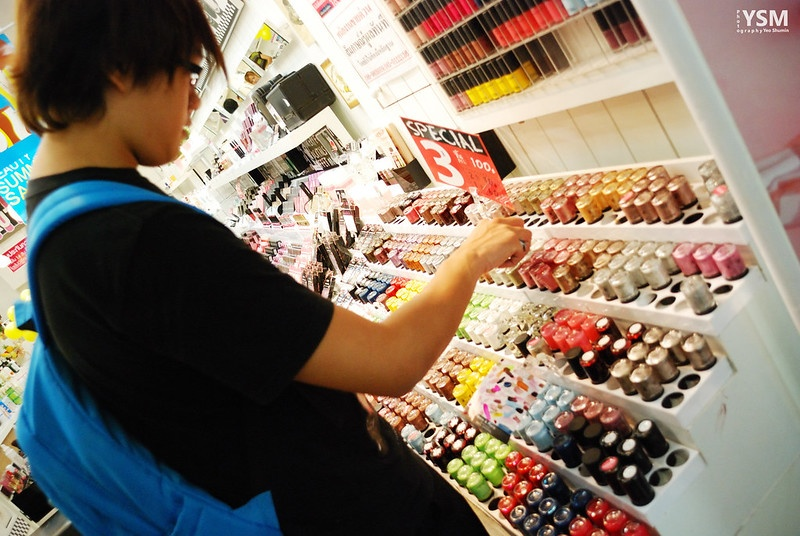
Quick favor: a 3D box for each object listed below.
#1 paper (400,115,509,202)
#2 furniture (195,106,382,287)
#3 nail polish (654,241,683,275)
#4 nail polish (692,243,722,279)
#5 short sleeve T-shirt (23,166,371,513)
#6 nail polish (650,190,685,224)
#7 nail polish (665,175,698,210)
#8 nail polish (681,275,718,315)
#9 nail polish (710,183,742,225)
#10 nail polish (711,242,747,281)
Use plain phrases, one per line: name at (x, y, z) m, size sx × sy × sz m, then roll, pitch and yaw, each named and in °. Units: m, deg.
paper at (0.235, -0.453, 2.082) m, size 0.006 × 0.346 × 0.505 m, roll -42°, pitch 40°, yaw -14°
furniture at (-1.579, -0.716, 5.752) m, size 0.909 × 0.474 × 2.115 m, roll -43°, pitch 38°, yaw -18°
nail polish at (0.946, -0.027, 1.723) m, size 0.075 × 0.082 × 0.074 m, roll -28°, pitch 22°, yaw 1°
nail polish at (1.018, -0.021, 1.621) m, size 0.073 × 0.080 × 0.073 m, roll -32°, pitch 29°, yaw -5°
short sleeve T-shirt at (-0.523, 0.223, 1.242) m, size 0.913 × 0.853 × 0.509 m, roll 3°, pitch 20°, yaw 35°
nail polish at (0.954, -0.219, 1.743) m, size 0.073 × 0.112 × 0.075 m, roll -16°, pitch -18°, yaw -46°
nail polish at (1.021, -0.271, 1.782) m, size 0.072 × 0.111 × 0.075 m, roll -42°, pitch 22°, yaw -19°
nail polish at (0.961, 0.093, 1.573) m, size 0.075 × 0.119 × 0.077 m, roll -28°, pitch 7°, yaw 47°
nail polish at (1.059, -0.198, 1.592) m, size 0.069 × 0.104 × 0.065 m, roll -19°, pitch 4°, yaw 21°
nail polish at (1.070, -0.021, 1.589) m, size 0.073 × 0.113 × 0.069 m, roll -24°, pitch 30°, yaw 40°
